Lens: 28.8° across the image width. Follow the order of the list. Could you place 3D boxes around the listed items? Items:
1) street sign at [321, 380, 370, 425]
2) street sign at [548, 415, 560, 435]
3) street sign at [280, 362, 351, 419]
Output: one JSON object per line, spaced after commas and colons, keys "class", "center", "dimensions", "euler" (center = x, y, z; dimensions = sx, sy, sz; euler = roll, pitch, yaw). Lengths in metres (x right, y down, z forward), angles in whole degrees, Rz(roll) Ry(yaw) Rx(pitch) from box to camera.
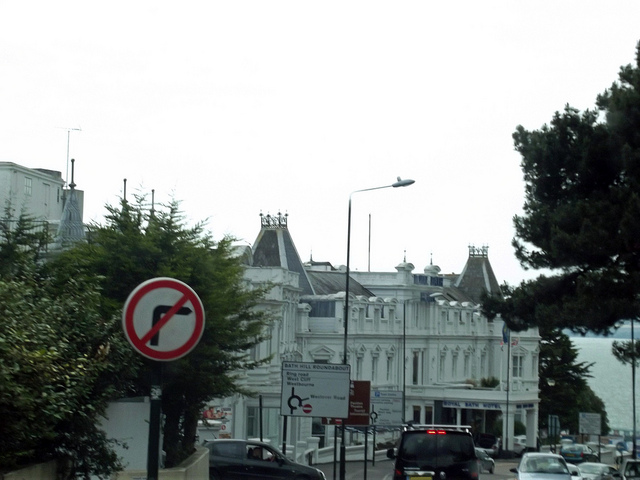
{"class": "street sign", "center": [0.863, 5.798, 44.332], "dimensions": [1.908, 2.213, 0.301], "euler": [-1, 2, -12]}
{"class": "street sign", "center": [13.598, 10.755, 72.673], "dimensions": [0.509, 1.030, 1.588], "euler": [-2, -11, 9]}
{"class": "street sign", "center": [-0.161, 4.989, 41.658], "dimensions": [2.260, 1.857, 0.488], "euler": [0, -9, -2]}
